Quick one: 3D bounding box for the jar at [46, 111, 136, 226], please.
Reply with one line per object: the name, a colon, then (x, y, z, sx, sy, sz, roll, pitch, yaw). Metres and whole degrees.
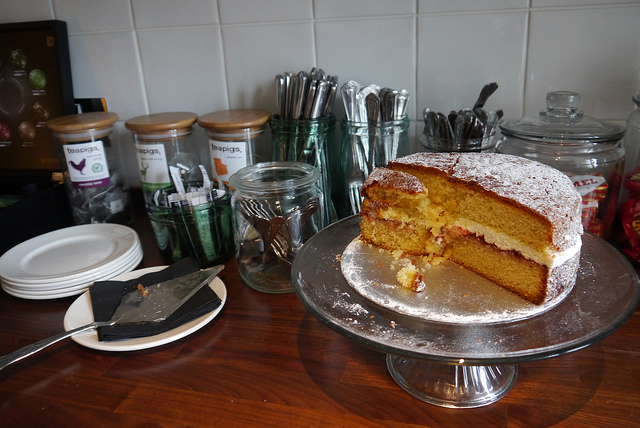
jar: (-0.744, -0.147, 1.516, 0.233, 0.373, 0.222, -1, 23, 1)

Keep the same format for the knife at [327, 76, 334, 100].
knife: (0.033, -0.369, 1.303, 0.014, 0.048, 0.031, 5, 23, 14)

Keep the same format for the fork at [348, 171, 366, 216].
fork: (0.105, -0.077, 1.313, 0.027, 0.177, 0.022, -2, 7, 5)

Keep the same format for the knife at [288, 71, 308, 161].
knife: (-0.066, -0.287, 1.299, 0.043, 0.286, 0.040, 0, 20, -11)

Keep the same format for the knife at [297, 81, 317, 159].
knife: (-0.049, -0.279, 1.306, 0.028, 0.267, 0.028, 27, 30, 32)

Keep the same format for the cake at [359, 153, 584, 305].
cake: (0.389, -0.007, 1.156, 0.501, 0.253, 0.322, 16, 31, 32)

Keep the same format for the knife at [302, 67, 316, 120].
knife: (-0.030, -0.351, 1.305, 0.017, 0.155, 0.022, 4, -8, 39)

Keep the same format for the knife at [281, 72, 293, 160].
knife: (-0.096, -0.296, 1.317, 0.030, 0.228, 0.026, 17, 22, 42)

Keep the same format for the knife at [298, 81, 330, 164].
knife: (-0.031, -0.261, 1.333, 0.039, 0.336, 0.047, 20, 21, 25)

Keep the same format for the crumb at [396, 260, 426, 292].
crumb: (0.213, 0.140, 1.035, 0.051, 0.020, 0.061, -5, 26, -5)

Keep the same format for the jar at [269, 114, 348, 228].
jar: (0.096, -0.161, 1.507, 0.313, 0.503, 0.310, -3, 17, 1)

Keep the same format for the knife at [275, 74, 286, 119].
knife: (-0.120, -0.336, 1.331, 0.041, 0.141, 0.036, 1, 23, -5)

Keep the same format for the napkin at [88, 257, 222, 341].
napkin: (-0.420, 0.210, 1.138, 0.288, 0.088, 0.225, -12, 24, -25)

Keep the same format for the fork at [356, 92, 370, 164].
fork: (0.130, -0.242, 1.292, 0.025, 0.209, 0.022, -3, 16, 17)

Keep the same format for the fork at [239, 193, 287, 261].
fork: (-0.154, 0.029, 1.208, 0.030, 0.212, 0.025, -35, 21, 0)

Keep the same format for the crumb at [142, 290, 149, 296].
crumb: (-0.449, 0.202, 1.148, 0.012, 0.004, 0.011, 2, 21, 8)

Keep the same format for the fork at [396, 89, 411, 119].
fork: (0.240, -0.319, 1.288, 0.032, 0.115, 0.020, 4, 31, -1)

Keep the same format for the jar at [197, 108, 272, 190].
jar: (-0.271, -0.193, 1.428, 0.217, 0.251, 0.187, 8, 33, 8)

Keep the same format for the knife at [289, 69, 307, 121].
knife: (-0.060, -0.340, 1.301, 0.060, 0.131, 0.044, -19, 29, -35)

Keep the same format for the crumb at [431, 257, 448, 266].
crumb: (0.295, 0.116, 1.123, 0.024, 0.008, 0.023, 3, 29, 10)

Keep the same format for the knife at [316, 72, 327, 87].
knife: (0.003, -0.383, 1.285, 0.017, 0.015, 0.061, 10, 31, -2)
